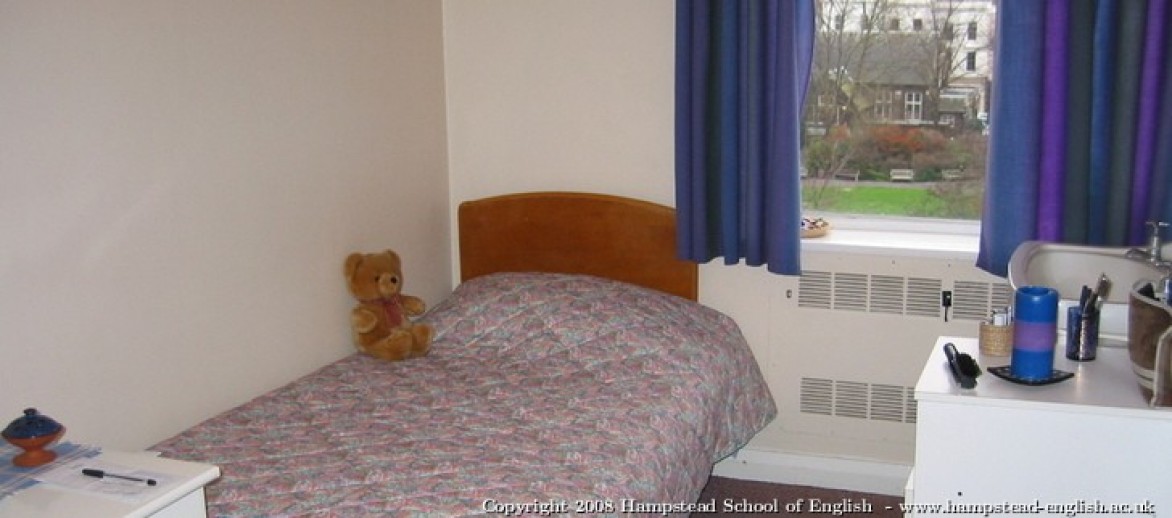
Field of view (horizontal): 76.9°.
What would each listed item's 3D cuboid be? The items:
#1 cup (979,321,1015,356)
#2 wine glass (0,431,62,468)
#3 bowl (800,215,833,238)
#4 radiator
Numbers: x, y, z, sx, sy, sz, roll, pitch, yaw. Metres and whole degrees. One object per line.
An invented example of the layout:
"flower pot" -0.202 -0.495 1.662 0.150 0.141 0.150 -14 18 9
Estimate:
"cup" 2.011 0.396 3.702 0.184 0.141 0.169 1 5 0
"wine glass" -2.455 0.859 3.307 0.215 0.094 0.197 3 0 38
"bowl" 1.466 -0.214 4.735 0.190 0.067 0.177 0 8 0
"radiator" 1.842 0.466 4.228 1.695 1.237 0.507 1 12 10
